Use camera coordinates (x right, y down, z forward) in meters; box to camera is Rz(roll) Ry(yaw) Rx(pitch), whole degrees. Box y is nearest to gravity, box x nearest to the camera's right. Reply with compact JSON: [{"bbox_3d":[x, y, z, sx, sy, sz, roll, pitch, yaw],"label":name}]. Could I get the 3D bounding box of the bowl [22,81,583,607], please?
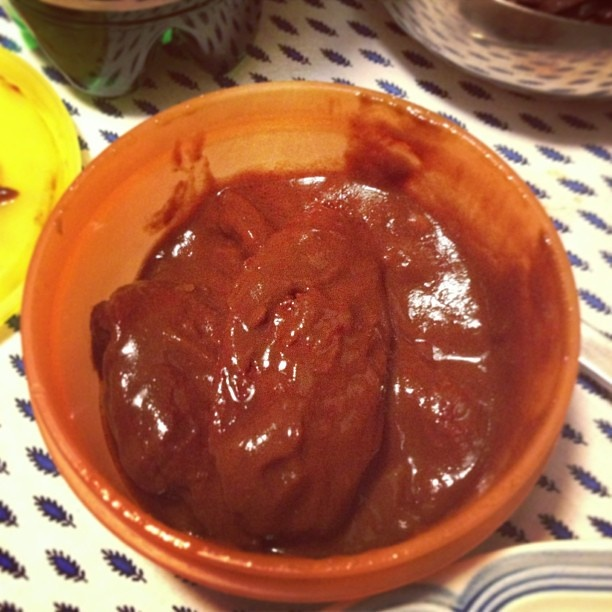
[{"bbox_3d":[-0.008,-0.001,0.600,0.422,0.132,0.404,0,79,-1],"label":"bowl"}]
